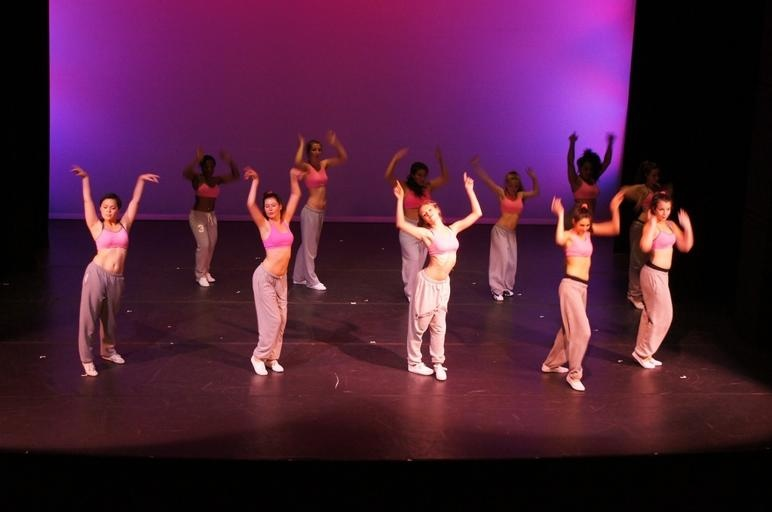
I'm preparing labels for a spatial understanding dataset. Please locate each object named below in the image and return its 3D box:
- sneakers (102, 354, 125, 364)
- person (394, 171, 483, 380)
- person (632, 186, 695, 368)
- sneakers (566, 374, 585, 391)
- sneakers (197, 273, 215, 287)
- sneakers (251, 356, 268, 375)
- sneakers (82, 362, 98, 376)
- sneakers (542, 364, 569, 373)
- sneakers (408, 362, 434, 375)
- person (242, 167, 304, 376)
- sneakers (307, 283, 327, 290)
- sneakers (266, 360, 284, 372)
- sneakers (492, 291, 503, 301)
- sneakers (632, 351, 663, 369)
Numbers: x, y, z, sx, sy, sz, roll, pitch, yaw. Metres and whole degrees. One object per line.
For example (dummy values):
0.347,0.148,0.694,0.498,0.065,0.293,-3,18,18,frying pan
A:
-2.828,1.066,6.311,0.244,0.103,0.099,2,14,12,sneakers
0.477,0.224,6.194,0.817,2.005,0.469,2,9,0,person
2.858,0.259,6.444,0.409,1.842,0.572,10,12,44,person
1.868,1.264,6.054,0.088,0.070,0.186,-23,30,-16,sneakers
-2.562,0.343,8.659,0.218,0.099,0.149,10,9,29,sneakers
-1.292,1.101,6.183,0.090,0.098,0.252,-19,26,-26,sneakers
-2.916,1.124,6.038,0.081,0.093,0.223,-1,5,-31,sneakers
1.731,1.181,6.316,0.270,0.115,0.095,0,12,7,sneakers
0.345,1.145,6.254,0.211,0.090,0.122,2,10,17,sneakers
-1.159,0.181,6.212,0.508,2.003,0.601,1,9,-7,person
-0.979,0.431,8.574,0.272,0.120,0.102,0,24,14,sneakers
-1.127,1.131,6.224,0.097,0.071,0.168,-17,20,-35,sneakers
1.515,0.559,8.292,0.157,0.093,0.200,2,9,1,sneakers
2.769,1.139,6.472,0.149,0.088,0.234,-24,37,-39,sneakers
